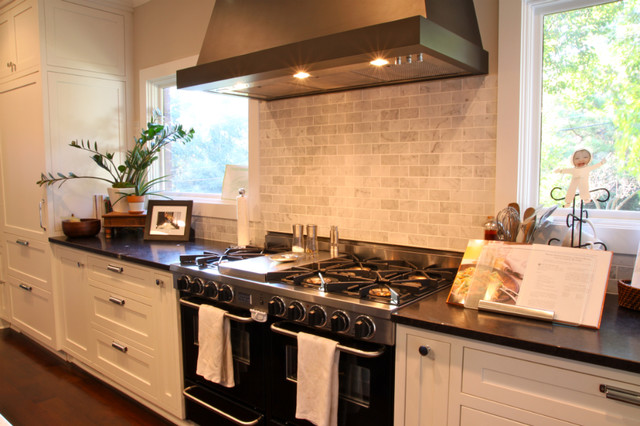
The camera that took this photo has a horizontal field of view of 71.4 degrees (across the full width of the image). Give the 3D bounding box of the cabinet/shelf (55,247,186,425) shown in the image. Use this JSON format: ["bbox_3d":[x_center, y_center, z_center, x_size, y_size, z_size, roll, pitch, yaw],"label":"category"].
[{"bbox_3d":[-1.494,0.954,3.406,1.204,0.850,0.437,7,7,42],"label":"cabinet/shelf"}]

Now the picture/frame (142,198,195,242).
[{"bbox_3d":[-1.354,0.076,4.006,0.383,0.324,0.029,1,-11,8],"label":"picture/frame"}]

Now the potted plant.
[{"bbox_3d":[-2.019,-0.374,4.332,1.084,0.682,1.218,3,1,-8],"label":"potted plant"}]

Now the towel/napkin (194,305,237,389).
[{"bbox_3d":[-0.674,0.833,2.798,0.291,0.479,0.132,4,11,19],"label":"towel/napkin"}]

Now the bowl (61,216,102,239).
[{"bbox_3d":[-2.190,0.137,4.097,0.313,0.173,0.207,-5,12,-25],"label":"bowl"}]

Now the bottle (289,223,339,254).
[{"bbox_3d":[-0.029,0.172,3.239,0.331,0.204,0.337,0,10,0],"label":"bottle"}]

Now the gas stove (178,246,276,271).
[{"bbox_3d":[-0.657,0.300,3.166,0.635,0.060,0.387,-10,14,-43],"label":"gas stove"}]
